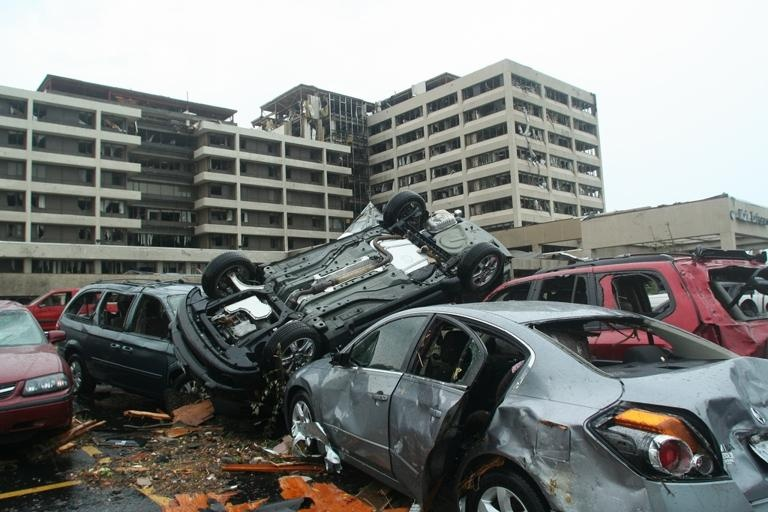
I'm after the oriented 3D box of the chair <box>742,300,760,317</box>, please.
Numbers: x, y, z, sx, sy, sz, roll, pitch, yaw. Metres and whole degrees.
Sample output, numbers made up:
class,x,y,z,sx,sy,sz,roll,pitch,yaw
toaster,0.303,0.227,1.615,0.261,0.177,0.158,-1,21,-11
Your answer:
class,x,y,z,sx,sy,sz,roll,pitch,yaw
chair,4.693,0.656,6.120,0.172,0.202,1.478,-2,-1,37
